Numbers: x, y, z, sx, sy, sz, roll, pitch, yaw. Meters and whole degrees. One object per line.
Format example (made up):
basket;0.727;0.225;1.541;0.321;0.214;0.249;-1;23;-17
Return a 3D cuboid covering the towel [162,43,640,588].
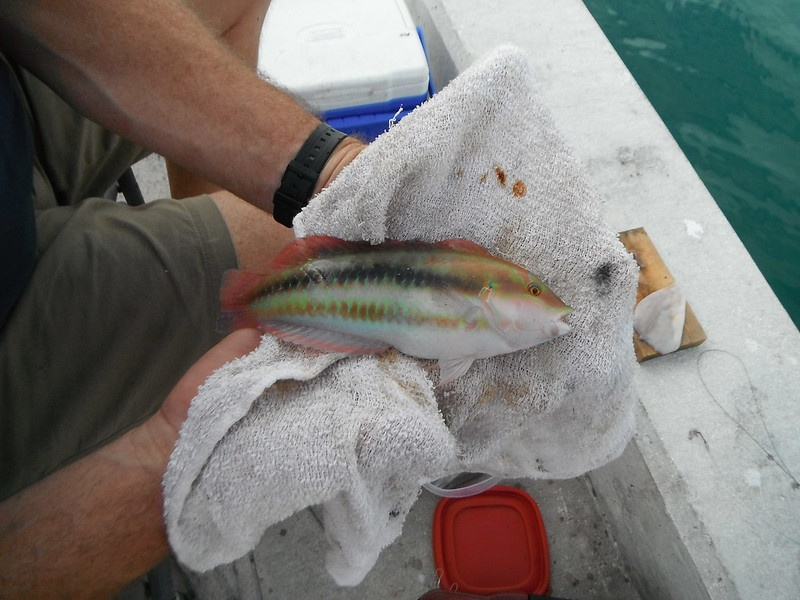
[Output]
towel;0.005;0.122;1.366;0.992;0.481;0.736;-27;69;-14

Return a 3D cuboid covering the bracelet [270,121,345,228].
bracelet;-0.170;-0.214;1.540;0.117;0.204;0.224;31;76;6
